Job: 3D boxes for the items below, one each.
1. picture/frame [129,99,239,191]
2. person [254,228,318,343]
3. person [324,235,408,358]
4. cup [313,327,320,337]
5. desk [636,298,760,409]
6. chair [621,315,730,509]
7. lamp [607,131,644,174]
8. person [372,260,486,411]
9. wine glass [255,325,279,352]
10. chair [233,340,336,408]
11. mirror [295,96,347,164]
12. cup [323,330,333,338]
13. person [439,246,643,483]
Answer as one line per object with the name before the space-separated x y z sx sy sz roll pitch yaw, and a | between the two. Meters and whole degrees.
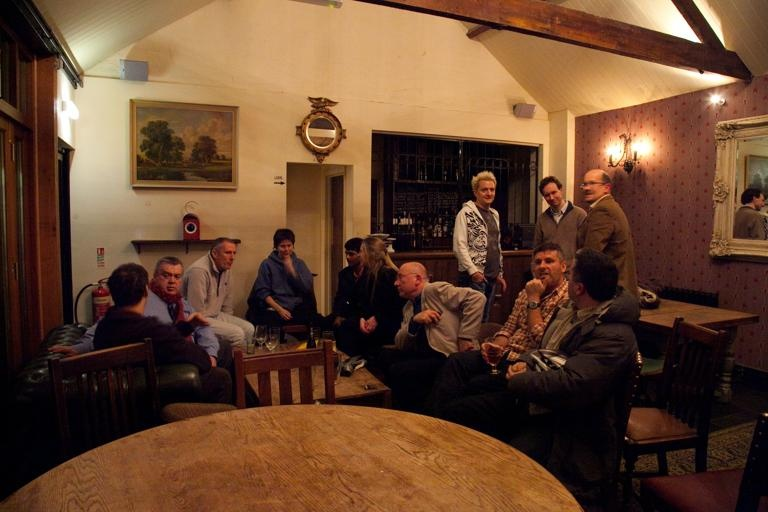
picture/frame | -2.447 -1.340 6.869 1.090 0.970 0.118 1 -2 -20
person | -1.167 0.315 6.781 0.952 1.156 0.932 5 11 17
person | -0.171 0.446 6.254 0.896 1.607 0.790 16 -25 -33
cup | -0.631 0.719 5.407 0.065 0.079 0.077 1 4 -4
desk | 3.041 1.005 5.687 1.000 0.819 0.839 1 -4 20
chair | 1.943 1.160 4.334 0.924 1.399 0.899 2 -10 41
lamp | 3.271 -1.407 7.876 0.168 0.565 0.529 -2 4 -20
person | 0.485 0.949 5.732 1.183 1.979 1.072 2 -17 -5
wine glass | -1.009 0.711 4.978 0.234 0.268 0.231 0 -2 -1
chair | -0.662 0.812 3.903 0.623 0.497 0.411 -3 -2 -14
mirror | -0.791 -1.638 7.464 0.681 0.861 0.043 3 37 -4
cup | -0.461 0.641 4.657 0.073 0.077 0.074 1 3 0
person | 1.110 0.971 4.407 1.449 2.203 1.183 8 20 19
